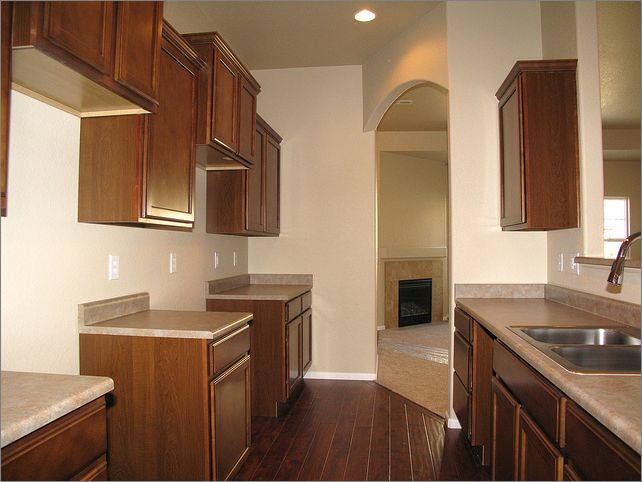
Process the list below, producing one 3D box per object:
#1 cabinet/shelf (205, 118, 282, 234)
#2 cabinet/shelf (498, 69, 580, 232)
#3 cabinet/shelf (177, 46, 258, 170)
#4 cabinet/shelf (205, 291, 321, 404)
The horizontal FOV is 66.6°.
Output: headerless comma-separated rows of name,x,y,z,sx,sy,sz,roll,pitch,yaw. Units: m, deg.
cabinet/shelf,-0.604,-0.489,4.129,0.288,0.965,0.920,2,-1,12
cabinet/shelf,1.367,-0.593,3.140,0.572,1.046,0.380,3,4,42
cabinet/shelf,-0.655,-0.858,3.250,0.247,0.671,0.757,0,-4,13
cabinet/shelf,-0.415,0.887,4.229,0.547,0.967,1.093,0,2,15
